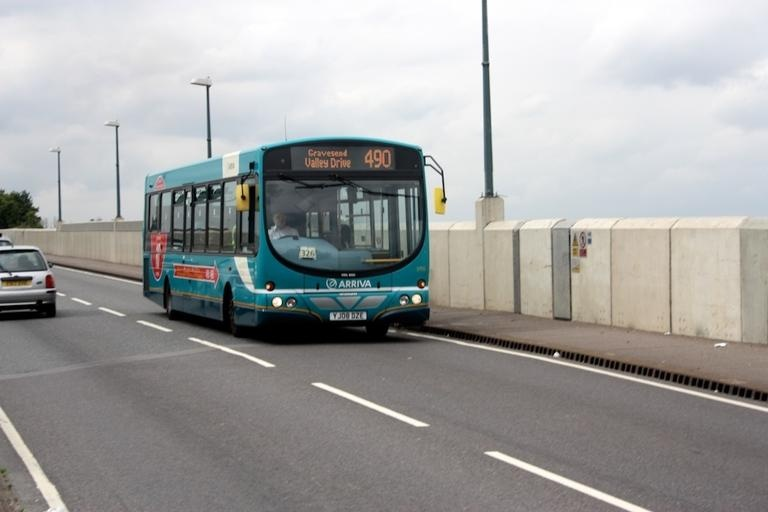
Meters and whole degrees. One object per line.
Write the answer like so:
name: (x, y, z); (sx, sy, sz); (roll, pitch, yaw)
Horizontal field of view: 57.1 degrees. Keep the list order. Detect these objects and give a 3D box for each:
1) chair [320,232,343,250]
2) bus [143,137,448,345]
chair: (-1.058, -0.241, 14.526); (0.452, 0.478, 0.331); (0, -4, -28)
bus: (-3.434, -0.377, 18.466); (11.613, 4.461, 5.006); (2, 4, 43)
